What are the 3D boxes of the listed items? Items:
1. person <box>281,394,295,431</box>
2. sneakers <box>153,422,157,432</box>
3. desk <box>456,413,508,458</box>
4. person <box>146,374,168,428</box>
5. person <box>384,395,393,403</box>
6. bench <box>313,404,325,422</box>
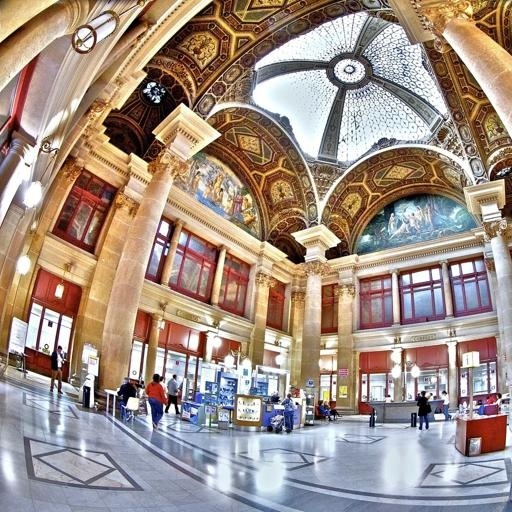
[{"bbox_3d":[1.027,4.908,10.945,0.358,1.078,0.685,2,-21,5],"label":"person"},{"bbox_3d":[-2.039,3.424,6.991,0.097,0.131,0.154,13,-23,-24],"label":"sneakers"},{"bbox_3d":[3.893,3.092,5.956,0.836,0.600,0.471,3,-6,-17],"label":"desk"},{"bbox_3d":[-2.084,3.011,7.298,0.442,1.096,0.436,-3,-5,31],"label":"person"},{"bbox_3d":[6.440,6.860,16.847,0.261,0.299,2.443,-4,-22,19],"label":"person"},{"bbox_3d":[3.061,7.568,16.839,0.359,0.556,0.633,15,-24,-28],"label":"bench"}]
